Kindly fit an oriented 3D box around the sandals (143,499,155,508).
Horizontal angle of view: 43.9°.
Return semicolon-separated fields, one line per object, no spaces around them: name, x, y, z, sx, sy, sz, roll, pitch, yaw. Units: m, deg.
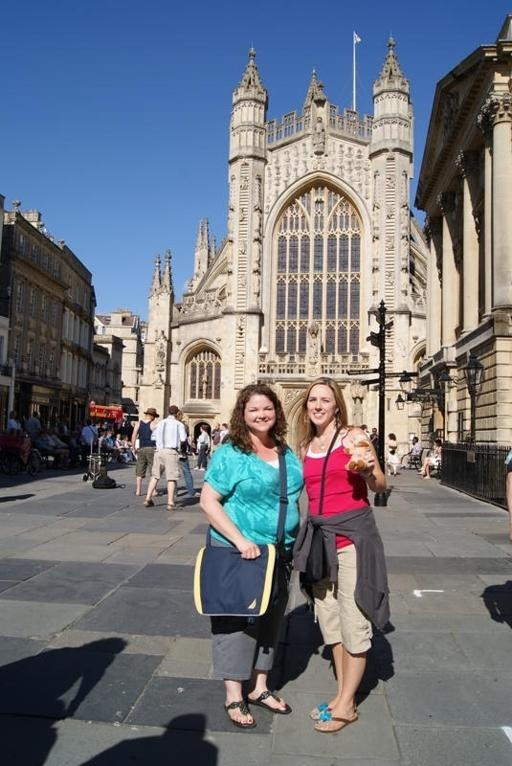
sandals;-1.806;2.037;10.722;0.153;0.112;0.330;3;-5;-10

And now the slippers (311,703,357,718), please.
slippers;0.319;1.460;2.849;0.142;0.057;0.087;15;-17;-29

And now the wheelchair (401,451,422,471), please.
wheelchair;6.814;3.424;27.553;0.952;1.205;0.834;1;-7;7

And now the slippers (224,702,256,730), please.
slippers;-0.082;1.450;2.803;0.089;0.086;0.193;6;-6;-33

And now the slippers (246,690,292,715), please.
slippers;0.077;1.480;2.984;0.155;0.067;0.090;4;-4;23

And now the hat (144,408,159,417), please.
hat;-1.870;0.529;11.343;0.285;0.132;0.321;21;-2;-4

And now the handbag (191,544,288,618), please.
handbag;-0.063;0.856;2.751;0.339;0.363;0.157;1;-32;9
